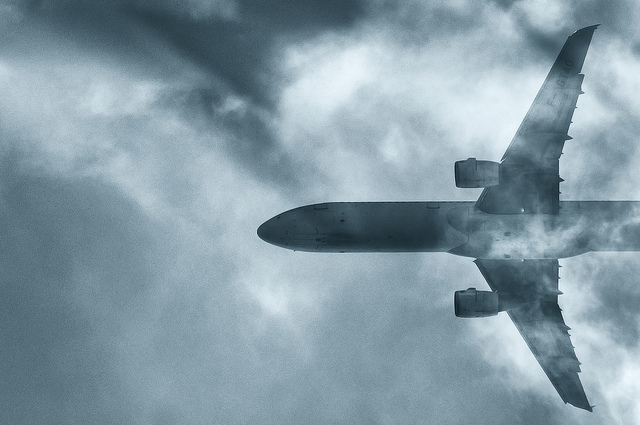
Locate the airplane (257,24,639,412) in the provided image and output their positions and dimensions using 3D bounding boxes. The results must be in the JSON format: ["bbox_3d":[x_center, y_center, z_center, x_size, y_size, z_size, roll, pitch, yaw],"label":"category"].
[{"bbox_3d":[13.340,2.647,112.252,31.214,28.277,17.565,-14,-37,18],"label":"airplane"}]
